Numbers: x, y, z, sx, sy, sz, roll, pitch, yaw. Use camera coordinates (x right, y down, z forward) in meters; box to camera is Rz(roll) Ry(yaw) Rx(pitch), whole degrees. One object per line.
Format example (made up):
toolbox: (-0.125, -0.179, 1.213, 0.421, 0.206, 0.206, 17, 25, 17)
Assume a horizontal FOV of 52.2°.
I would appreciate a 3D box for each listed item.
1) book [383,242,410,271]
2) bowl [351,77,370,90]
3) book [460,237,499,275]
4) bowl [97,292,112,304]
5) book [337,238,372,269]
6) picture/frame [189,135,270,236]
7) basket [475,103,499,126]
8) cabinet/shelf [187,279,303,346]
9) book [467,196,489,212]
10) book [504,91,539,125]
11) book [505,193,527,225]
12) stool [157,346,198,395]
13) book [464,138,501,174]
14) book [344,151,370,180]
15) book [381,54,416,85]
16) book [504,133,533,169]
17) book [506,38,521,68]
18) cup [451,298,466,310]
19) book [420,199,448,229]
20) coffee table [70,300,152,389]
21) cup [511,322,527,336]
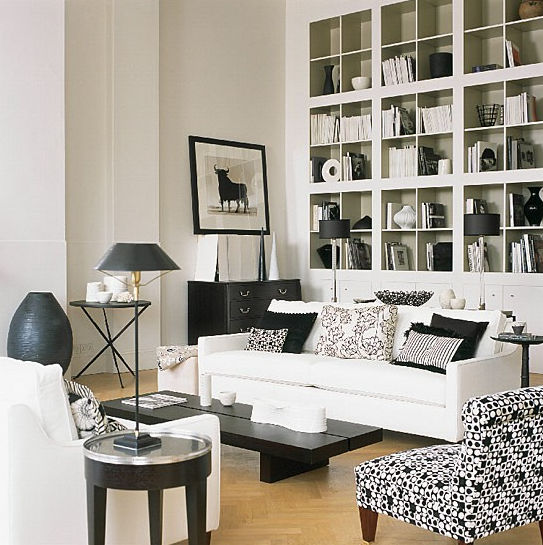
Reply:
book: (1.573, -0.211, 7.054, 0.304, 0.344, 0.113, 5, -10, -38)
bowl: (1.162, -2.497, 7.299, 0.187, 0.127, 0.184, -3, -1, 0)
book: (2.355, -0.191, 6.318, 0.388, 0.583, 0.283, 1, -1, -26)
bowl: (-1.611, 0.236, 5.375, 0.105, 0.090, 0.107, -2, -2, 0)
book: (1.109, -0.201, 7.461, 0.450, 0.700, 0.356, 0, -1, -12)
picture/frame: (-0.588, -1.127, 7.165, 0.048, 1.416, 1.266, -7, -7, 44)
basket: (2.486, -1.835, 6.417, 0.227, 0.218, 0.230, -1, 2, -1)
cabinet/shelf: (-0.348, 0.779, 6.947, 1.277, 1.336, 0.682, 1, -3, -43)
book: (2.396, -0.829, 6.446, 0.266, 0.268, 0.144, -1, -2, -33)
book: (2.719, -1.795, 6.093, 0.301, 0.458, 0.421, 2, 4, 42)
book: (2.767, -0.707, 6.250, 0.135, 0.370, 0.329, -1, 1, 43)
stool: (-0.790, 0.808, 4.871, 0.356, 0.420, 0.380, 0, -1, 30)
book: (2.458, -1.337, 6.411, 0.368, 0.240, 0.167, -2, 1, -14)
book: (1.136, -1.454, 7.465, 0.410, 0.441, 0.157, -1, 0, -37)
book: (1.583, -2.526, 6.958, 0.385, 0.138, 0.315, 3, 7, 42)
book: (2.736, -1.350, 6.163, 0.414, 0.438, 0.155, 1, -4, -43)
book: (2.688, -2.438, 6.160, 0.125, 0.366, 0.290, -1, 1, 36)
cup: (1.412, 0.230, 4.201, 0.078, 0.064, 0.079, -1, -1, 0)
book: (2.015, -0.707, 6.802, 0.445, 0.237, 0.207, -3, 1, -30)
coffee table: (-1.685, 0.721, 5.650, 0.773, 0.945, 0.792, 0, -7, -5)
cup: (1.573, 0.354, 3.537, 0.111, 0.104, 0.104, -2, -4, 0)
